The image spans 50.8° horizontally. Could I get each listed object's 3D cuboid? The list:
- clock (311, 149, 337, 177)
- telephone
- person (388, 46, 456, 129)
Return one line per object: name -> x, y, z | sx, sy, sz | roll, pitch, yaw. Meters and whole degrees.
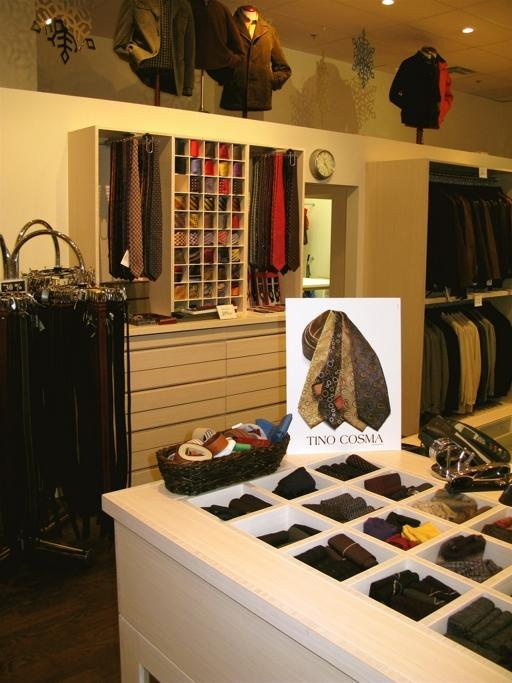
clock -> 0.582, -1.549, 4.695 | 0.233, 0.248, 0.069 | 13, -13, -44
telephone -> 0.592, 0.308, 1.542 | 0.200, 0.062, 0.148 | 39, 21, 20
person -> 1.683, -2.547, 5.454 | 0.613, 0.787, 0.398 | -1, 2, -41
